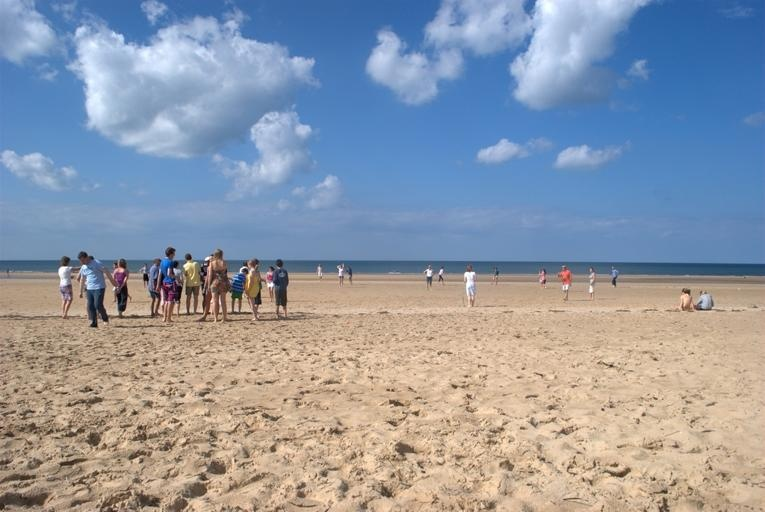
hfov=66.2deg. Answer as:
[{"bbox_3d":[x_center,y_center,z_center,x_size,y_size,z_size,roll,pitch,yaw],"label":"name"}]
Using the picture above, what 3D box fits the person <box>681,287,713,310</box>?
[{"bbox_3d":[11.023,1.500,20.543,0.748,0.892,1.675,3,4,17],"label":"person"}]
